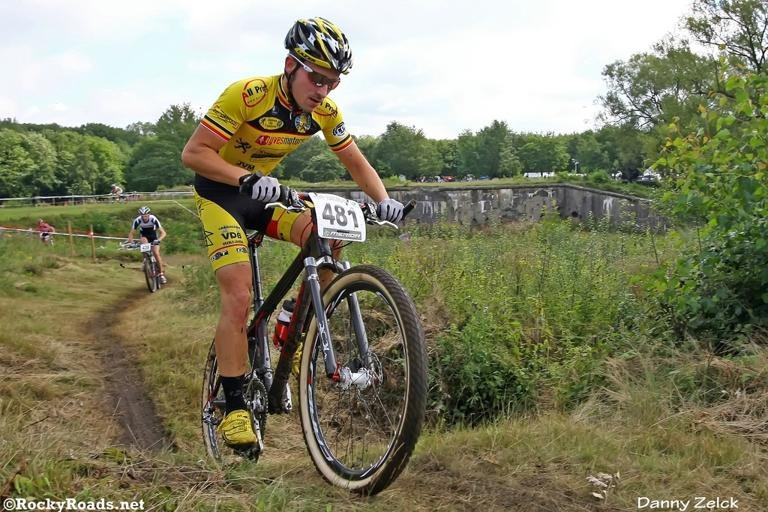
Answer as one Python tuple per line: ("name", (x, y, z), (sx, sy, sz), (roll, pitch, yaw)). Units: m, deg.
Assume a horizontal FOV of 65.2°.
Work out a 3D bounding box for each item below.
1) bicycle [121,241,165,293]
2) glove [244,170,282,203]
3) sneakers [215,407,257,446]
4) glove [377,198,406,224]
("bicycle", (-6.311, 0.272, 15.260), (1.096, 1.016, 1.728), (-13, 3, -17))
("glove", (-1.010, -0.567, 4.978), (0.288, 0.133, 0.213), (13, -4, 45))
("sneakers", (-1.309, 1.534, 5.385), (0.221, 0.168, 0.390), (2, -2, -30))
("glove", (0.063, -0.406, 5.419), (0.186, 0.229, 0.230), (16, 19, -3))
